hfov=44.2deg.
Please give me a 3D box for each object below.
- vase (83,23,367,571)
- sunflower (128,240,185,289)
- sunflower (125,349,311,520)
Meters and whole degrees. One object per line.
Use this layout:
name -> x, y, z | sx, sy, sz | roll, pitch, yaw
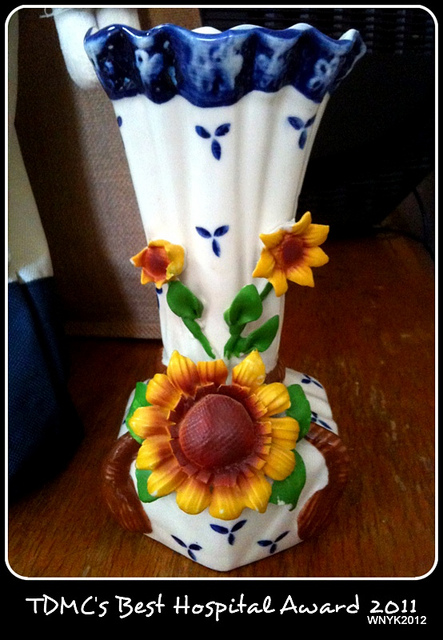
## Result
vase -> 0.016, 0.011, 0.509 | 0.208, 0.481, 0.260 | 3, 27, -5
sunflower -> -0.049, -0.044, 0.420 | 0.034, 0.019, 0.036 | -18, 88, 26
sunflower -> -0.003, 0.078, 0.447 | 0.126, 0.046, 0.143 | 0, 78, -6
